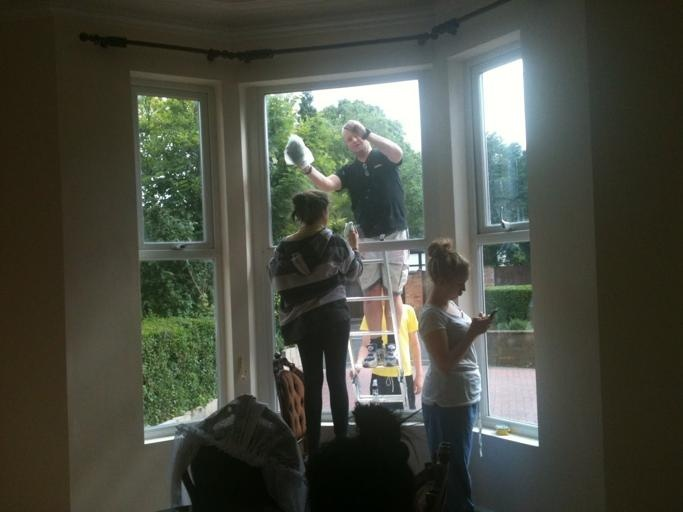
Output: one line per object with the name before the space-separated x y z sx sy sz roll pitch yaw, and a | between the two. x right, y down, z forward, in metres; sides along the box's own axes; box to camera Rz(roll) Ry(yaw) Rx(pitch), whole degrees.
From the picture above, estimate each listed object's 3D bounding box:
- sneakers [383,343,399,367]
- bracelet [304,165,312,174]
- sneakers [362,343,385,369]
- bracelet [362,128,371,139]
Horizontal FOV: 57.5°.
sneakers | 0.281 0.567 3.517 0.096 0.184 0.099 0 -8 -2
bracelet | -0.196 -0.505 3.645 0.040 0.046 0.034 -8 -19 29
sneakers | 0.185 0.563 3.536 0.106 0.051 0.159 -1 11 2
bracelet | 0.144 -0.715 3.617 0.059 0.062 0.040 14 16 35
